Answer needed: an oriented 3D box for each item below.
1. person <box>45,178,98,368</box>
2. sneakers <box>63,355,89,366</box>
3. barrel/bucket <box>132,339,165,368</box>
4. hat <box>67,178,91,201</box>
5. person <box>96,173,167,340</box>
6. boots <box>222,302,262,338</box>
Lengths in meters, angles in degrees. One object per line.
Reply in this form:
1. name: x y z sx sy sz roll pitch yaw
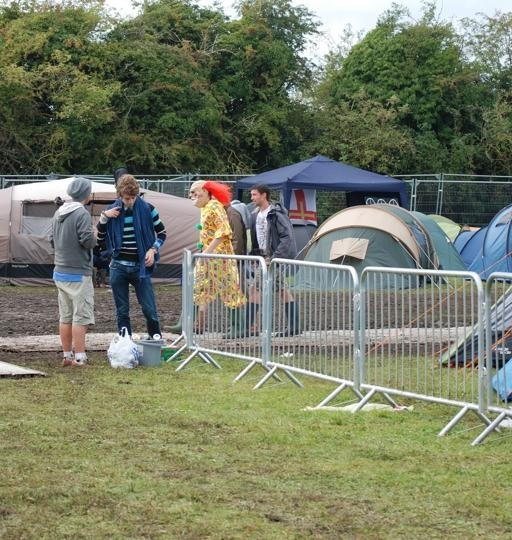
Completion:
1. person: -1.777 0.019 12.447 0.409 1.799 0.560 -1 11 -9
2. sneakers: -1.772 0.899 12.437 0.227 0.086 0.236 2 11 4
3. barrel/bucket: -1.061 0.847 12.622 0.239 0.204 0.277 0 -3 -4
4. hat: -1.748 -0.825 12.528 0.189 0.190 0.249 24 41 40
5. person: -1.250 -0.118 12.686 0.671 1.647 0.487 0 11 -4
6. boots: -0.108 0.507 12.357 0.323 0.576 0.332 -2 4 -28
